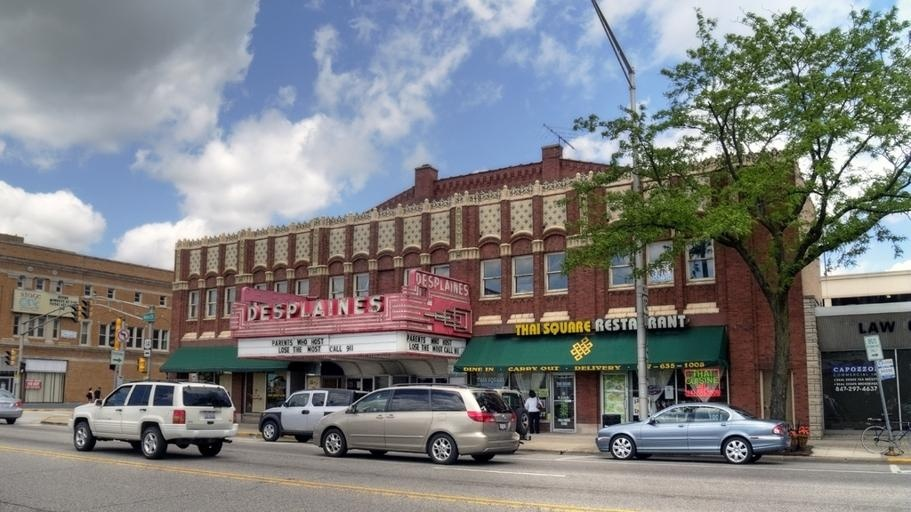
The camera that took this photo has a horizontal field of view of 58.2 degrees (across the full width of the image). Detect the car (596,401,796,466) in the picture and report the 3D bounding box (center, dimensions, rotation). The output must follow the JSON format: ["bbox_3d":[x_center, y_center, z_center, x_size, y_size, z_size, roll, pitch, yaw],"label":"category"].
[{"bbox_3d":[10.506,7.982,36.513,7.349,1.999,3.092,-2,-12,20],"label":"car"}]

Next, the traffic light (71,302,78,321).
[{"bbox_3d":[-29.386,4.428,63.229,0.391,1.314,0.589,0,5,-14],"label":"traffic light"}]

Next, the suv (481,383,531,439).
[{"bbox_3d":[2.518,8.860,44.041,2.667,2.276,4.287,-8,-3,1],"label":"suv"}]

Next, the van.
[{"bbox_3d":[-1.651,7.339,35.918,8.094,2.494,3.514,-2,-11,22],"label":"van"}]

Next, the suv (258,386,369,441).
[{"bbox_3d":[-7.538,8.339,42.781,5.136,2.137,2.772,-4,-9,32],"label":"suv"}]
